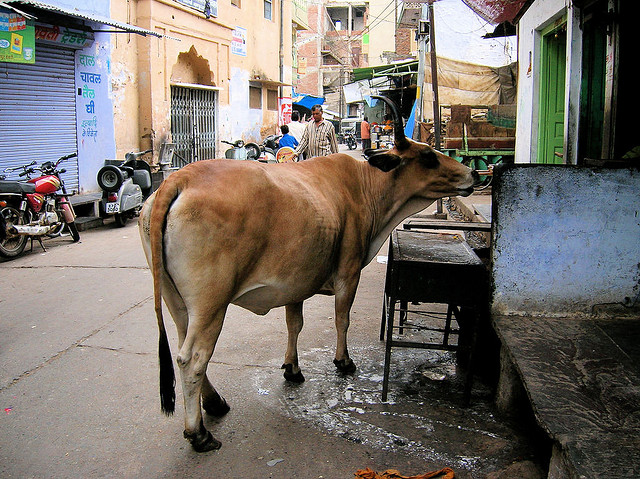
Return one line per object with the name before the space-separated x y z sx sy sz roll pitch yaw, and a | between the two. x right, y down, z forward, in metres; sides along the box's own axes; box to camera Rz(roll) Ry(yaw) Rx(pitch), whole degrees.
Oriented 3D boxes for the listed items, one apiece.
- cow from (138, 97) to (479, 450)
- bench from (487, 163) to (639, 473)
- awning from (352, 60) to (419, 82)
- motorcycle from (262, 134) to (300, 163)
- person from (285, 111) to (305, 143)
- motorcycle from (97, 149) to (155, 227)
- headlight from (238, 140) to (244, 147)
cow | 0.051 0.145 4.081 2.795 2.122 0.876 -10 14 -31
bench | 1.576 0.191 3.184 1.060 1.197 1.665 6 14 21
awning | 3.071 -7.942 24.233 2.717 0.879 4.422 0 13 -3
motorcycle | -1.038 -2.376 13.442 1.111 0.782 0.581 -3 -4 -23
person | -0.786 -3.331 14.711 0.371 0.820 1.069 0 28 -3
motorcycle | -3.831 -1.128 10.448 0.830 1.406 2.235 0 13 -2
headlight | -2.364 -2.911 15.516 0.214 0.082 0.191 8 3 -18
